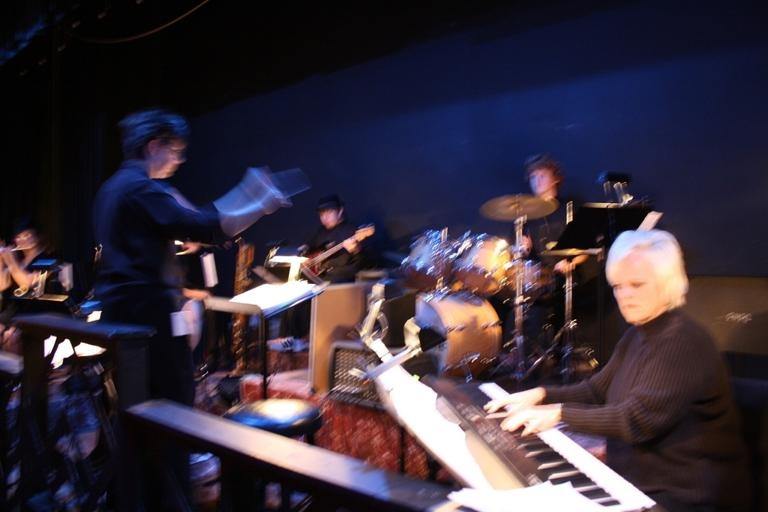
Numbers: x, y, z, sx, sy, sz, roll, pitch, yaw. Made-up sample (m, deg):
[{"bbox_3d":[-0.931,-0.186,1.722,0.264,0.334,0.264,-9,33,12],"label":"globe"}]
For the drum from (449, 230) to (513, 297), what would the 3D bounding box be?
[{"bbox_3d":[0.840,0.116,5.299,0.535,0.423,0.591,-20,-37,32],"label":"drum"}]

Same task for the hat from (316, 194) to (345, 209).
[{"bbox_3d":[-0.673,-0.655,7.470,0.242,0.119,0.181,-16,3,-2],"label":"hat"}]

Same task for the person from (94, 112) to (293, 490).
[{"bbox_3d":[-1.301,0.157,3.826,1.110,2.269,0.436,-3,-2,-8],"label":"person"}]

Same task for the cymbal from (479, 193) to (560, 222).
[{"bbox_3d":[1.411,-0.487,6.103,0.392,0.084,0.400,-22,-32,39],"label":"cymbal"}]

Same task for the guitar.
[{"bbox_3d":[-0.528,-0.049,6.961,1.018,0.421,0.111,-30,27,10],"label":"guitar"}]
